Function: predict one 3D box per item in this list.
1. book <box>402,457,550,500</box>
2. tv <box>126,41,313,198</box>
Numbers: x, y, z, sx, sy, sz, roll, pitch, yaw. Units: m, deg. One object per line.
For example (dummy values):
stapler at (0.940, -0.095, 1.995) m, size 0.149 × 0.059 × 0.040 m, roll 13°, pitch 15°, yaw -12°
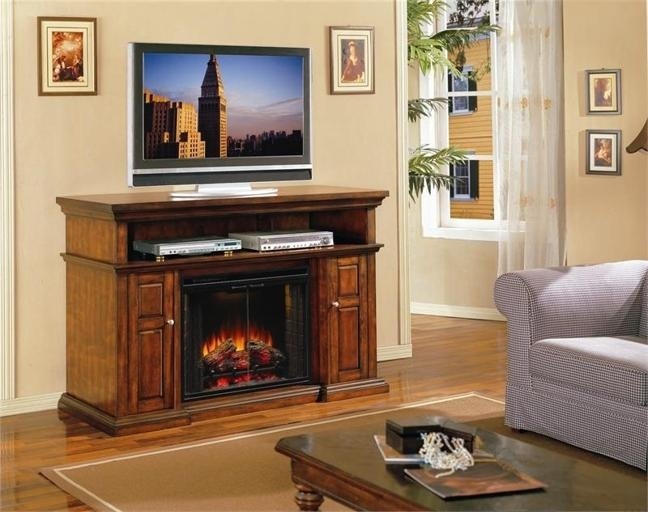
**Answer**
book at (0.402, 0.602, 1.603) m, size 0.312 × 0.022 × 0.253 m, roll -2°, pitch 2°, yaw -18°
tv at (-0.656, -0.832, 3.519) m, size 1.131 × 0.736 × 0.284 m, roll -4°, pitch 6°, yaw -33°
